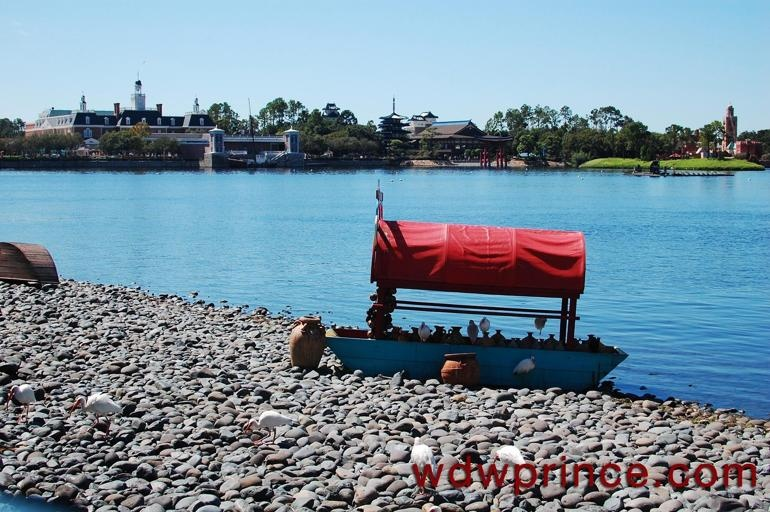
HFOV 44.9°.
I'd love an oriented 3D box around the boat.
[{"bbox_3d":[1.905,0.878,18.736,5.909,3.427,1.860,3,-1,2],"label":"boat"}]
